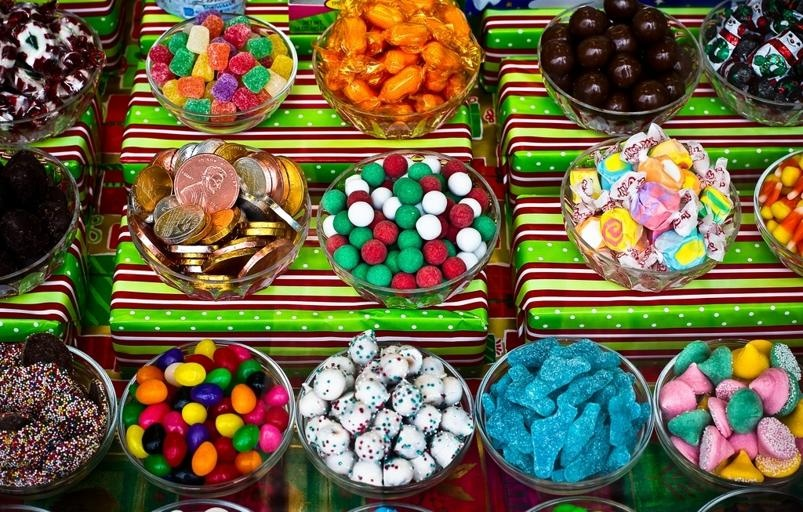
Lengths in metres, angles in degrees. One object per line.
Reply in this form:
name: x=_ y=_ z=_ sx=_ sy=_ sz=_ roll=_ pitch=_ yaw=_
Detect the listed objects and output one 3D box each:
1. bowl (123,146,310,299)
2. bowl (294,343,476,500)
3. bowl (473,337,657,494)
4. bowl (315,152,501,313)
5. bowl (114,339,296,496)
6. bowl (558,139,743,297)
bowl: x=-0.615 y=-0.138 z=2.437 sx=0.599 sy=0.300 sz=0.496 roll=-5 pitch=65 yaw=-7
bowl: x=-0.055 y=0.475 z=2.225 sx=0.542 sy=0.185 sz=0.471 roll=23 pitch=65 yaw=6
bowl: x=0.504 y=0.483 z=2.273 sx=0.542 sy=0.224 sz=0.474 roll=16 pitch=64 yaw=3
bowl: x=0.007 y=0.007 z=2.437 sx=0.457 sy=0.247 sz=0.460 roll=5 pitch=29 yaw=-3
bowl: x=-0.604 y=0.483 z=2.253 sx=0.518 sy=0.139 sz=0.488 roll=2 pitch=64 yaw=-4
bowl: x=0.859 y=-0.088 z=2.564 sx=0.645 sy=0.653 sz=0.270 roll=7 pitch=95 yaw=40
